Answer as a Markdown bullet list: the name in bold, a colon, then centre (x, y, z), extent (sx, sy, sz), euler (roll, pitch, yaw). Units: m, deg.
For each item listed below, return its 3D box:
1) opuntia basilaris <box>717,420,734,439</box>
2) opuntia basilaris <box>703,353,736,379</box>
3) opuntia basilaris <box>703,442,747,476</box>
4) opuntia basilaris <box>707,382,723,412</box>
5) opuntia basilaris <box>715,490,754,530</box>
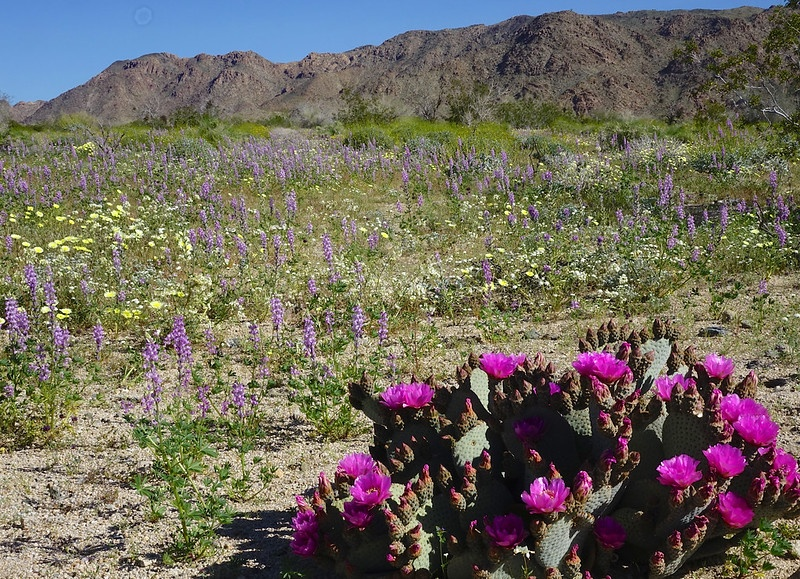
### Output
- **opuntia basilaris**: centre (2.495, 1.094, 6.481), extent (0.126, 0.163, 0.057), euler (-5, -1, -19)
- **opuntia basilaris**: centre (2.617, 0.639, 6.926), extent (0.230, 0.216, 0.186), euler (-6, -2, 0)
- **opuntia basilaris**: centre (2.464, 1.305, 6.400), extent (0.224, 0.138, 0.261), euler (-2, 38, 10)
- **opuntia basilaris**: centre (2.478, 0.863, 6.640), extent (0.126, 0.223, 0.107), euler (-19, 23, -23)
- **opuntia basilaris**: centre (2.531, 1.693, 6.385), extent (0.226, 0.284, 0.127), euler (-3, -35, 6)
